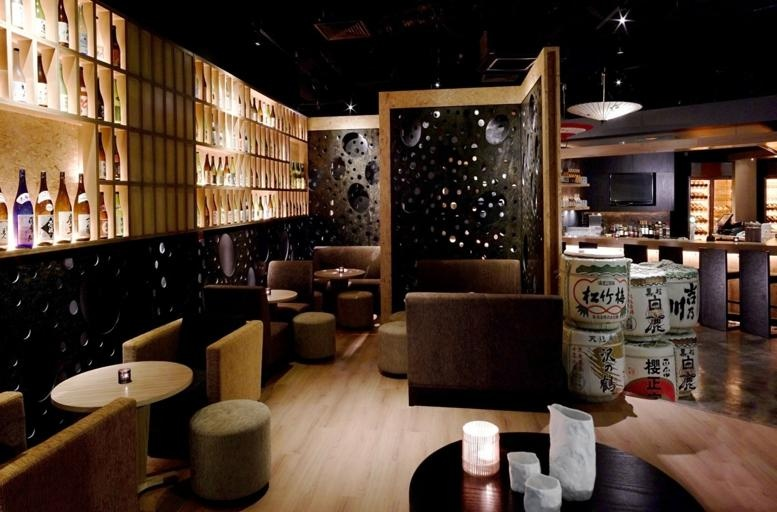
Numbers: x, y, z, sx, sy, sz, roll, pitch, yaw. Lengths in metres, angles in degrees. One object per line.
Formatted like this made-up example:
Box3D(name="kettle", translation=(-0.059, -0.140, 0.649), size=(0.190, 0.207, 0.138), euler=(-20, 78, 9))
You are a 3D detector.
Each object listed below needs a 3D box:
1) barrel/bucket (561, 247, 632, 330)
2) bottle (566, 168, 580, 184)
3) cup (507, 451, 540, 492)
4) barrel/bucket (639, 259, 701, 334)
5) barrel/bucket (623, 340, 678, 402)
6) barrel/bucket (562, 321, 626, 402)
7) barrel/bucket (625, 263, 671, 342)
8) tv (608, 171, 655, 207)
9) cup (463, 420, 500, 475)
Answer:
Box3D(name="barrel/bucket", translation=(2.023, 0.293, 5.526), size=(0.706, 0.731, 0.719), euler=(0, 1, 0))
Box3D(name="bottle", translation=(4.354, -1.859, 13.052), size=(0.266, 0.341, 0.606), euler=(1, 5, 35))
Box3D(name="cup", translation=(0.901, 1.430, 3.757), size=(0.224, 0.211, 0.184), euler=(-3, 3, 7))
Box3D(name="barrel/bucket", translation=(2.891, 0.390, 5.793), size=(0.581, 0.636, 0.606), euler=(-8, 10, 2))
Box3D(name="barrel/bucket", translation=(2.588, 1.093, 5.582), size=(0.491, 0.556, 0.522), euler=(-6, 12, 1))
Box3D(name="barrel/bucket", translation=(2.011, 1.035, 5.538), size=(0.603, 0.690, 0.659), euler=(-1, 1, 0))
Box3D(name="barrel/bucket", translation=(2.514, 0.463, 5.456), size=(0.455, 0.674, 0.260), euler=(-1, 4, 3))
Box3D(name="tv", translation=(5.699, -1.575, 13.169), size=(0.966, 0.726, 0.172), euler=(0, -2, 4))
Box3D(name="cup", translation=(0.616, 1.331, 3.923), size=(0.292, 0.328, 0.301), euler=(0, -2, 0))
